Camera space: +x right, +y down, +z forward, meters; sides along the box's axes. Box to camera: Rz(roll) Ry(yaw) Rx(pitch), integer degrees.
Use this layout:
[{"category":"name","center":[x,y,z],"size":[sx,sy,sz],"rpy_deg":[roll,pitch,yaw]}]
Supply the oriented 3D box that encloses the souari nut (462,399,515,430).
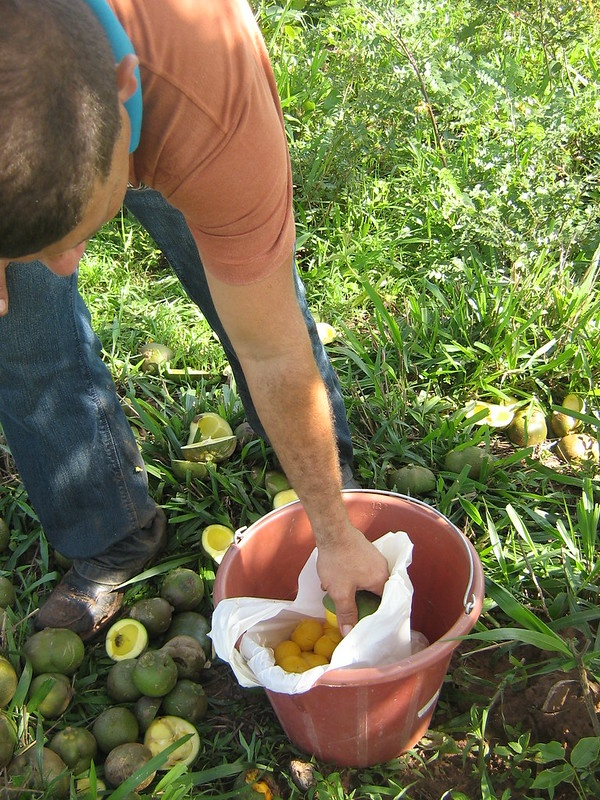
[{"category":"souari nut","center":[0.673,0.039,2.366],"size":[0.153,0.046,0.105],"rpy_deg":[26,41,10]}]

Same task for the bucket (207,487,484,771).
[{"category":"bucket","center":[0.169,0.566,1.760],"size":[0.730,0.487,0.648],"rpy_deg":[11,43,19]}]
